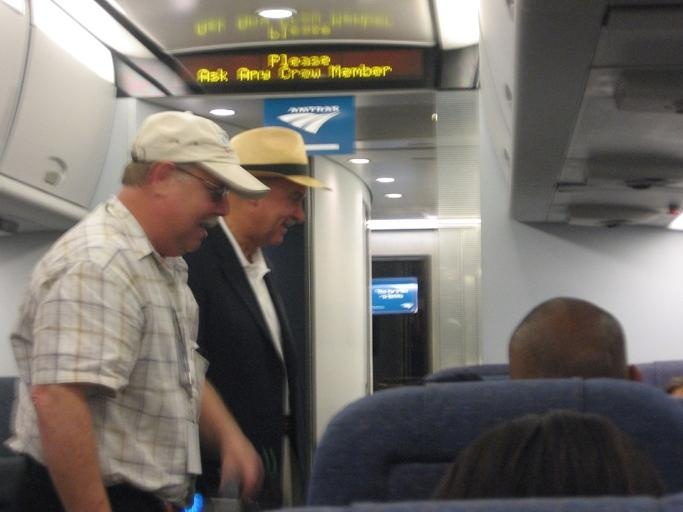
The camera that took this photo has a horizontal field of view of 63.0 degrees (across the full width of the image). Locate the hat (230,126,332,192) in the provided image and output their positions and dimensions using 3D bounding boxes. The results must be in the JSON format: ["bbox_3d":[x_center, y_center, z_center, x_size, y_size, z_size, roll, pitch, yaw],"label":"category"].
[{"bbox_3d":[-0.347,-0.501,2.986,0.420,0.181,0.321,5,4,5],"label":"hat"}]

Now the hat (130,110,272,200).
[{"bbox_3d":[-0.595,-0.381,2.318,0.454,0.241,0.299,15,-1,-22],"label":"hat"}]
